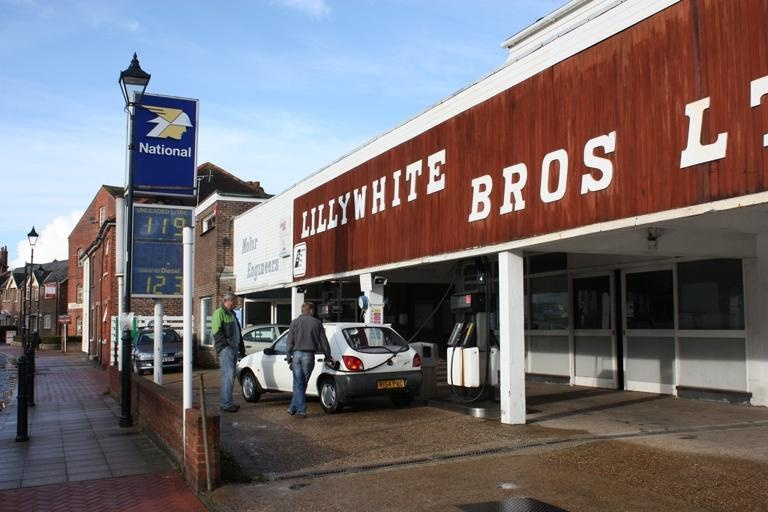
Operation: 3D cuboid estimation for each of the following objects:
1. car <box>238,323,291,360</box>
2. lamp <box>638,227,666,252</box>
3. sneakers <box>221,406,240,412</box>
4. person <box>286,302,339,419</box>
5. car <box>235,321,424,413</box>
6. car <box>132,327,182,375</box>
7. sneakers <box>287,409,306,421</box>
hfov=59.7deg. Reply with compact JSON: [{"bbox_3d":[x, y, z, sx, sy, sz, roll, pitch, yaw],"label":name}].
[{"bbox_3d":[-4.085,2.666,22.231,1.946,1.101,1.204,-5,-2,-4],"label":"car"},{"bbox_3d":[5.097,-0.234,12.680,0.460,0.413,0.448,15,-14,-39],"label":"lamp"},{"bbox_3d":[-3.251,3.240,14.229,0.407,0.190,0.144,-6,-7,26],"label":"sneakers"},{"bbox_3d":[-1.542,2.085,13.683,0.908,2.288,0.699,1,-8,-6],"label":"person"},{"bbox_3d":[-1.108,2.393,14.788,3.118,1.519,2.018,-1,-4,44],"label":"car"},{"bbox_3d":[-8.861,3.634,25.969,1.829,1.831,3.606,2,-7,-25],"label":"car"},{"bbox_3d":[-1.754,3.175,13.402,0.407,0.191,0.142,4,-2,40],"label":"sneakers"}]
